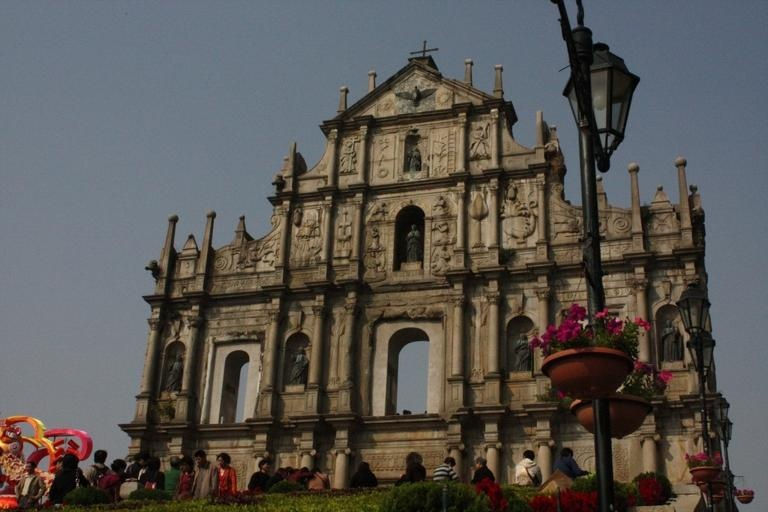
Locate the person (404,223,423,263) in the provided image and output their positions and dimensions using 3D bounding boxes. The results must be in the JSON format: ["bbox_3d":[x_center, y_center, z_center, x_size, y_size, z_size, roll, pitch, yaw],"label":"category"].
[{"bbox_3d":[1.311,-0.537,51.041,0.689,1.978,0.813,-1,-17,1],"label":"person"}]

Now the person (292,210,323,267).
[{"bbox_3d":[-3.374,-0.821,52.016,1.357,2.721,0.430,-7,-19,23],"label":"person"}]

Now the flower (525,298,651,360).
[{"bbox_3d":[5.132,1.963,28.263,2.006,1.028,1.639,-2,5,24],"label":"flower"}]

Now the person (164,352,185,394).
[{"bbox_3d":[-9.092,5.060,51.357,0.840,1.819,0.436,-2,-17,6],"label":"person"}]

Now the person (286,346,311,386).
[{"bbox_3d":[-3.646,4.654,49.953,0.840,1.589,0.492,-13,-21,37],"label":"person"}]

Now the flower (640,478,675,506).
[{"bbox_3d":[9.295,8.099,40.748,1.059,0.689,0.817,6,-15,-27],"label":"flower"}]

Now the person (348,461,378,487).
[{"bbox_3d":[-0.644,6.904,37.307,0.802,0.958,1.468,-1,-16,1],"label":"person"}]

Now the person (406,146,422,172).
[{"bbox_3d":[1.311,-4.251,52.103,0.700,1.381,0.332,-15,-22,39],"label":"person"}]
